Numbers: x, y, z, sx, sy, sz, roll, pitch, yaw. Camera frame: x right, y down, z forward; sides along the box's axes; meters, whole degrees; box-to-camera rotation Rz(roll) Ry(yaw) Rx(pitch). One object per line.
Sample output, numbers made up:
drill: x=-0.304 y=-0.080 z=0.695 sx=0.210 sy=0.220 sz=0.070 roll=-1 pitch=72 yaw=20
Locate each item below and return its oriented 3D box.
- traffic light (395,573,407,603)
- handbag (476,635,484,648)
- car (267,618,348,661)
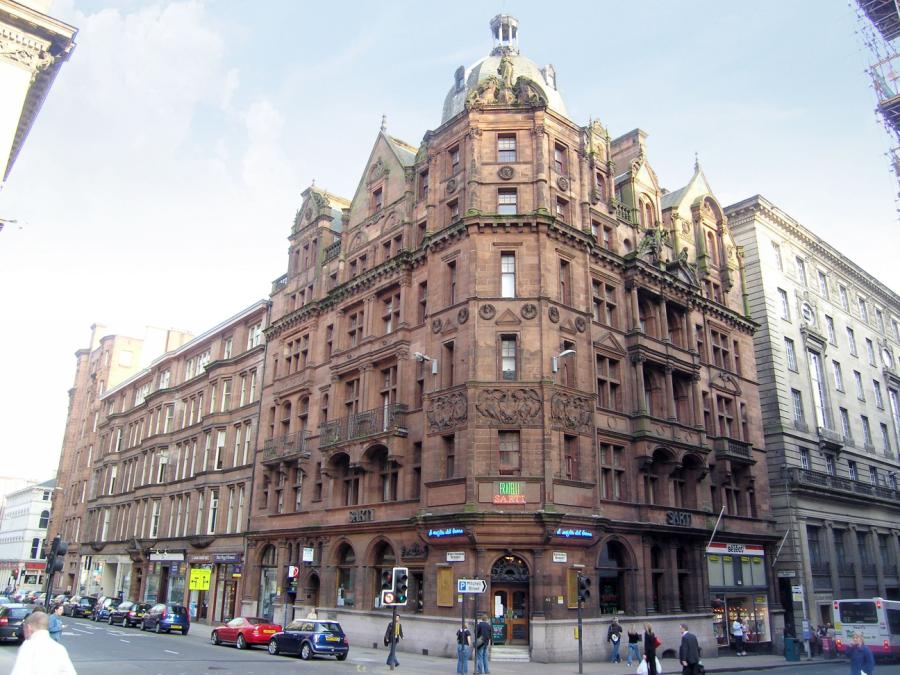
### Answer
traffic light: x=-2.142 y=10.710 z=29.294 sx=0.528 sy=1.285 sz=0.406 roll=-4 pitch=-22 yaw=11
handbag: x=1.297 y=13.046 z=29.164 sx=0.341 sy=0.479 sz=0.189 roll=0 pitch=-22 yaw=1
car: x=-6.994 y=14.923 z=33.693 sx=4.142 sy=1.754 sz=1.300 roll=-16 pitch=-27 yaw=36
